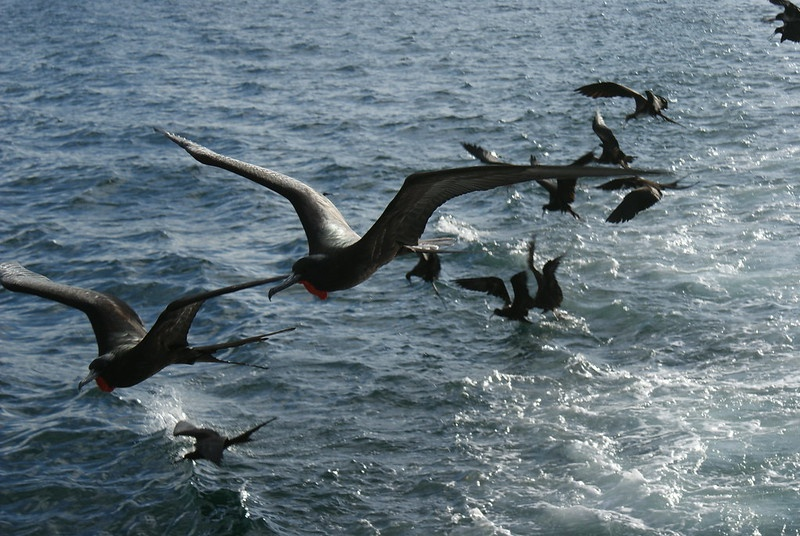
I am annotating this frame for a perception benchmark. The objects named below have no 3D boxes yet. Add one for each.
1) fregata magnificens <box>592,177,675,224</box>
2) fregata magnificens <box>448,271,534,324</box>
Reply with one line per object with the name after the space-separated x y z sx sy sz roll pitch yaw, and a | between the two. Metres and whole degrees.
6.195 -1.572 43.746 1.720 0.213 1.472 -19 13 18 | fregata magnificens
2.526 0.701 46.934 1.596 0.624 3.136 -1 13 41 | fregata magnificens
